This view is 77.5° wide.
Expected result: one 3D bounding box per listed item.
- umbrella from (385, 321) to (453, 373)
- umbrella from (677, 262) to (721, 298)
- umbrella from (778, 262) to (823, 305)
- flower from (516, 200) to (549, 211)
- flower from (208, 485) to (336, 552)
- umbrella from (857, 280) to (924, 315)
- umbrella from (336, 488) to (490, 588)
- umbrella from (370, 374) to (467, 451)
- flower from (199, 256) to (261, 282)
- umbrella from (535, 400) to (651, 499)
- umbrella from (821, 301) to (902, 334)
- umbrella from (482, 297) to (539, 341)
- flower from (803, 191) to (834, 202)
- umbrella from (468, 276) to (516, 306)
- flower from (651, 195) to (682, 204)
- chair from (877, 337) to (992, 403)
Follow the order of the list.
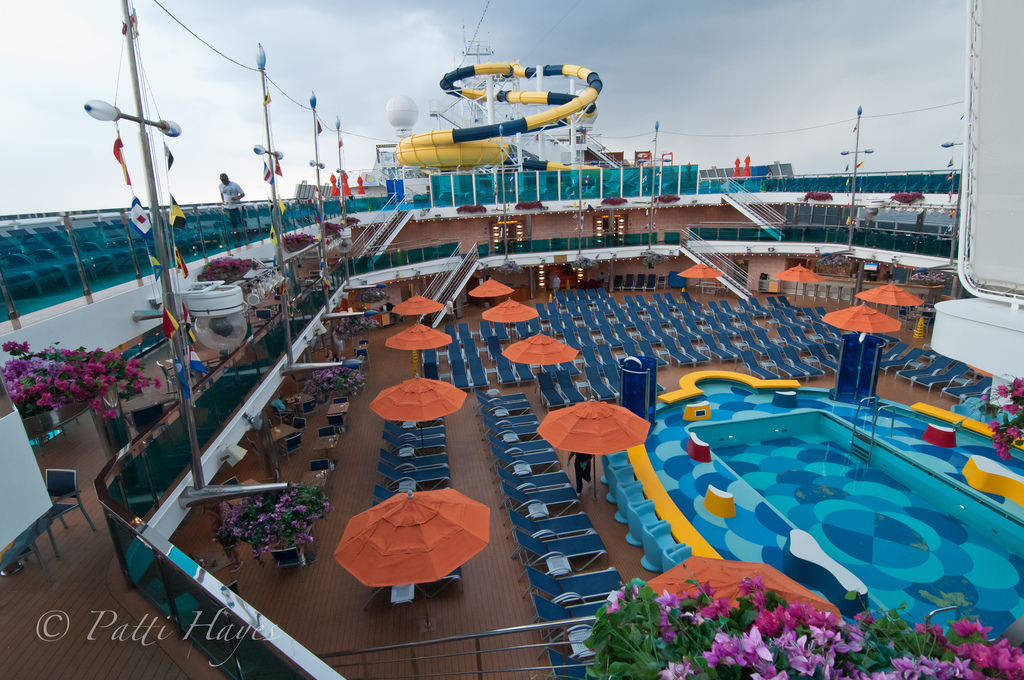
[{"bbox_3d":[-2.652,0.310,17.995,1.466,1.790,3.233,-7,18,-12],"label":"umbrella"},{"bbox_3d":[7.509,-2.309,25.291,1.757,1.308,1.733,0,33,9],"label":"umbrella"},{"bbox_3d":[12.083,-2.271,26.804,1.721,0.868,1.699,-6,33,-5],"label":"umbrella"},{"bbox_3d":[0.850,-6.201,29.535,1.509,0.429,0.471,-13,21,-29],"label":"flower"},{"bbox_3d":[-4.101,3.204,10.935,1.776,1.121,0.688,-7,19,-14],"label":"flower"},{"bbox_3d":[12.566,-1.341,21.011,1.422,0.594,1.396,-9,25,-13],"label":"umbrella"},{"bbox_3d":[-1.516,3.023,9.807,2.258,0.927,1.407,-6,18,-12],"label":"umbrella"},{"bbox_3d":[-2.041,1.678,13.825,1.333,0.609,1.300,-7,29,-16],"label":"umbrella"},{"bbox_3d":[-4.983,-1.235,11.143,1.021,0.355,0.774,-10,19,-21],"label":"flower"},{"bbox_3d":[1.589,2.039,12.479,1.280,1.321,1.521,-3,9,-45],"label":"umbrella"},{"bbox_3d":[9.084,-0.450,16.502,1.471,0.696,1.169,-4,18,-4],"label":"umbrella"},{"bbox_3d":[-0.105,-0.660,22.059,1.558,0.757,1.536,-3,29,-6],"label":"umbrella"},{"bbox_3d":[13.871,-6.445,28.861,0.474,0.444,1.498,-6,18,-10],"label":"flower"},{"bbox_3d":[-0.948,-1.982,26.381,1.543,0.946,1.517,-4,30,-3],"label":"umbrella"},{"bbox_3d":[7.749,-6.953,31.529,1.480,0.428,0.454,-11,20,-25],"label":"flower"},{"bbox_3d":[11.974,0.882,18.171,1.645,0.860,2.964,-14,23,-21],"label":"chair"}]
